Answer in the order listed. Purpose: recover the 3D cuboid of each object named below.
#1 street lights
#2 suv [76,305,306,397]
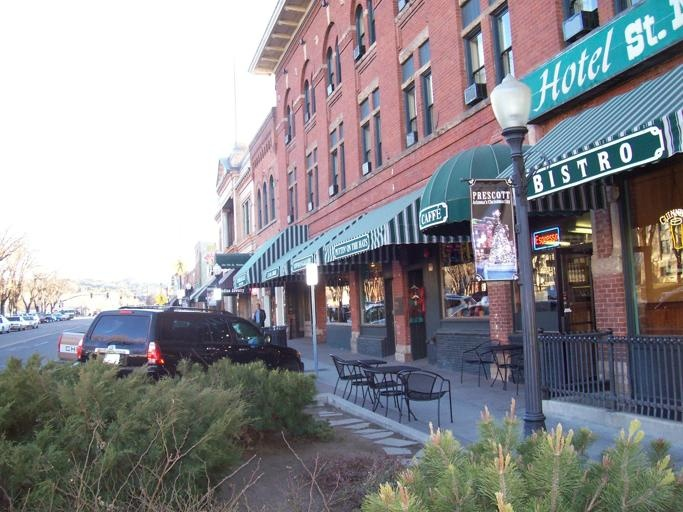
[{"bbox_3d":[2.201,-0.089,6.896,0.450,4.503,0.621,-4,-9,24],"label":"street lights"},{"bbox_3d":[-2.861,1.602,10.409,3.661,1.245,1.394,9,-13,-43],"label":"suv"}]
